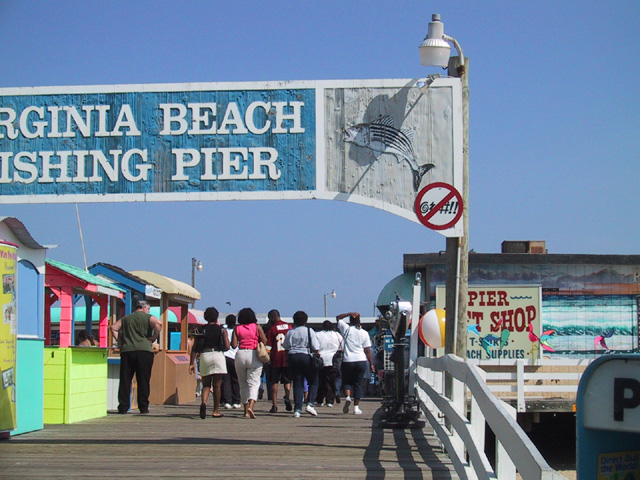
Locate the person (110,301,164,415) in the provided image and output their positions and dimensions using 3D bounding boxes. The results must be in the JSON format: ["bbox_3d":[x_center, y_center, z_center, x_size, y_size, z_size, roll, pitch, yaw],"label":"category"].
[{"bbox_3d":[-3.552,2.248,26.918,0.841,2.145,1.064,2,-8,-9],"label":"person"}]

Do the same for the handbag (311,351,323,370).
[{"bbox_3d":[-0.055,2.365,27.422,0.176,0.325,0.108,-7,-3,-2],"label":"handbag"}]

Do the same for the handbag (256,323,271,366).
[{"bbox_3d":[-1.089,1.990,26.638,0.240,0.710,0.398,1,-8,-4],"label":"handbag"}]

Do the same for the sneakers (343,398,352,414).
[{"bbox_3d":[0.563,3.450,28.656,0.140,0.394,0.138,1,14,-12],"label":"sneakers"}]

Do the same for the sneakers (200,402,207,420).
[{"bbox_3d":[-2.215,3.234,26.509,0.121,0.373,0.144,0,2,-8],"label":"sneakers"}]

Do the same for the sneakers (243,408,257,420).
[{"bbox_3d":[-1.340,3.369,26.882,0.115,0.149,0.325,0,-32,8],"label":"sneakers"}]
